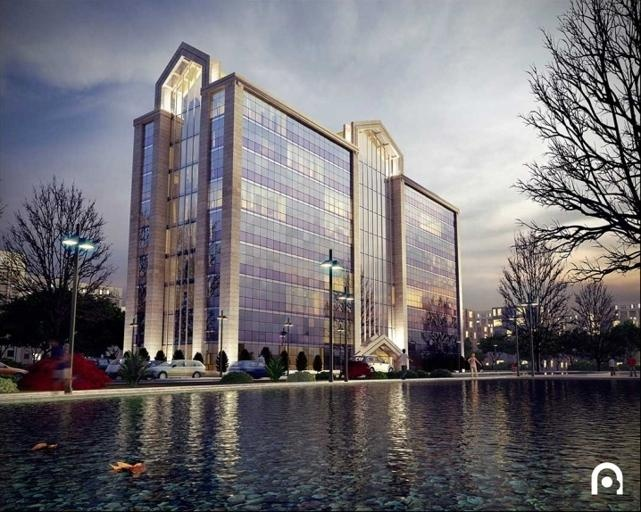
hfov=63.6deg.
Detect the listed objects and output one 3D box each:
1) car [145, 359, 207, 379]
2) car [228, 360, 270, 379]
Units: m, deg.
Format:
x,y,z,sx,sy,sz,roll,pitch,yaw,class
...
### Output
x,y,z,sx,sy,sz,roll,pitch,yaw,class
-11.575,9.173,41.942,1.762,1.293,4.165,-10,-19,43,car
-5.578,9.100,43.431,3.843,1.767,2.376,7,-17,-20,car
